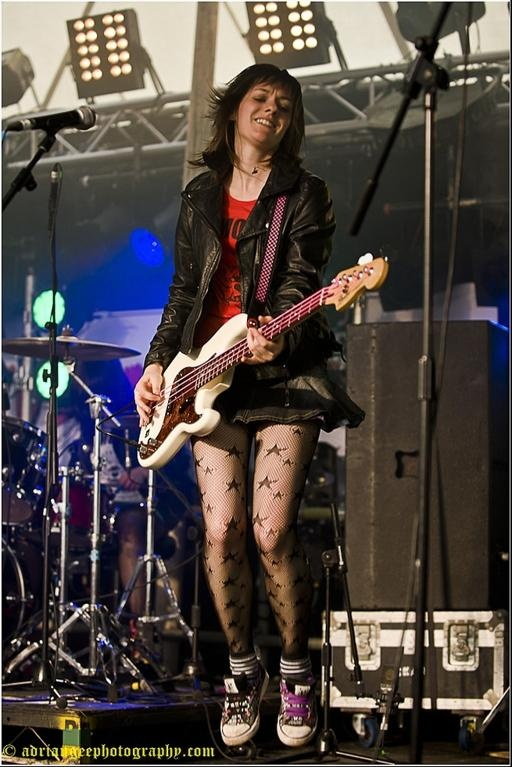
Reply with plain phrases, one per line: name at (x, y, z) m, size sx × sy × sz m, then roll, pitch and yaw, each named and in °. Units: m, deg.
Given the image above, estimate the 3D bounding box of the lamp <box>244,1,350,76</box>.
lamp at (0.195, -1.518, 4.889) m, size 0.335 × 0.323 × 0.447 m, roll -3°, pitch 18°, yaw 1°

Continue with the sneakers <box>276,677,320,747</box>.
sneakers at (0.119, 0.989, 3.315) m, size 0.112 × 0.217 × 0.117 m, roll 1°, pitch -4°, yaw 1°

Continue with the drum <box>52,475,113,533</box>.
drum at (-0.744, 0.521, 4.777) m, size 0.246 × 0.235 × 0.260 m, roll -1°, pitch -5°, yaw 22°

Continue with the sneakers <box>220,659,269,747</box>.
sneakers at (-0.037, 0.962, 3.309) m, size 0.111 × 0.132 × 0.304 m, roll -6°, pitch 38°, yaw 17°

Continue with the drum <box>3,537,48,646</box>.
drum at (-0.976, 0.850, 4.655) m, size 0.194 × 0.466 × 0.144 m, roll 3°, pitch -5°, yaw -29°

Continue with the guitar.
guitar at (0.029, -0.047, 3.472) m, size 0.154 × 0.339 × 0.967 m, roll 26°, pitch -47°, yaw -35°

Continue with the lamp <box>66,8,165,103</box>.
lamp at (-0.669, -1.499, 5.016) m, size 0.336 × 0.334 × 0.239 m, roll 0°, pitch -4°, yaw 7°

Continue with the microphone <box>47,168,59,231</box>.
microphone at (-0.772, -0.703, 4.248) m, size 0.036 × 0.267 × 0.216 m, roll 1°, pitch -4°, yaw -11°

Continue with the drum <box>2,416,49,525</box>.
drum at (-0.984, 0.374, 4.701) m, size 0.198 × 0.458 × 0.107 m, roll 2°, pitch -4°, yaw -20°
